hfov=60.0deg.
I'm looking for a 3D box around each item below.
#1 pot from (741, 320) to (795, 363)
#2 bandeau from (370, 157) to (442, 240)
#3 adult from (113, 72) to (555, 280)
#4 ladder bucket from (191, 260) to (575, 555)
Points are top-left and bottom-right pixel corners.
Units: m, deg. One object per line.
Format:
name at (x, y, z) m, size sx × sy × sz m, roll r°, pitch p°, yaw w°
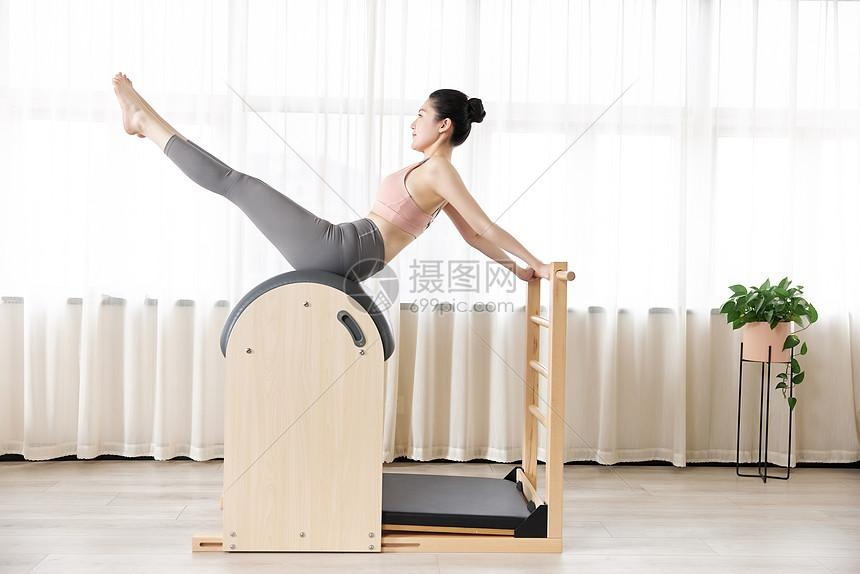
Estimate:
pot at (1.620, 0.270, 3.599) m, size 0.189 × 0.169 × 0.204 m, roll 2°, pitch 0°, yaw 0°
bandeau at (-0.069, -0.325, 2.816) m, size 0.219 × 0.288 × 0.225 m, roll 15°, pitch 3°, yaw -14°
adult at (-0.403, -0.458, 2.913) m, size 1.262 × 0.627 × 0.852 m, roll 7°, pitch 3°, yaw 4°
ladder bucket at (-0.181, 0.525, 3.324) m, size 1.389 × 1.134 × 0.990 m, roll 1°, pitch -2°, yaw 0°
